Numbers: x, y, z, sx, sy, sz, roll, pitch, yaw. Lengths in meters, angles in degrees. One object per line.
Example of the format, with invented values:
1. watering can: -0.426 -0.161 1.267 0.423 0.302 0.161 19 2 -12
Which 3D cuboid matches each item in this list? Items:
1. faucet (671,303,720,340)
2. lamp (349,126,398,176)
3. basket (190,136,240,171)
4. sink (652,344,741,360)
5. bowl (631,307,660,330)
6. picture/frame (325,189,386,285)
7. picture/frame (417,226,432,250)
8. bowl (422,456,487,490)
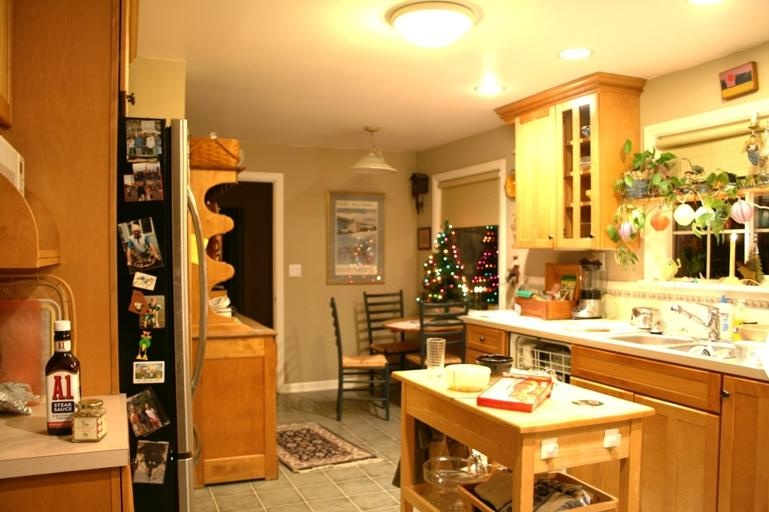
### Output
1. faucet: 2.008 0.400 3.874 0.225 0.218 0.062 11 45 39
2. lamp: -0.126 -1.032 6.088 0.455 0.414 0.463 0 -4 36
3. basket: -1.261 -0.735 4.563 0.276 0.170 0.269 0 7 -16
4. sink: 1.988 0.572 3.755 0.189 0.074 0.232 -1 3 -24
5. bowl: 1.860 0.441 4.368 0.155 0.115 0.157 2 -3 0
6. picture/frame: -0.326 -0.208 7.071 0.701 1.013 0.069 -3 -1 -24
7. picture/frame: 0.478 -0.209 7.222 0.019 0.284 0.286 0 1 -28
8. bowl: 0.351 1.111 3.156 0.217 0.098 0.179 1 1 20
